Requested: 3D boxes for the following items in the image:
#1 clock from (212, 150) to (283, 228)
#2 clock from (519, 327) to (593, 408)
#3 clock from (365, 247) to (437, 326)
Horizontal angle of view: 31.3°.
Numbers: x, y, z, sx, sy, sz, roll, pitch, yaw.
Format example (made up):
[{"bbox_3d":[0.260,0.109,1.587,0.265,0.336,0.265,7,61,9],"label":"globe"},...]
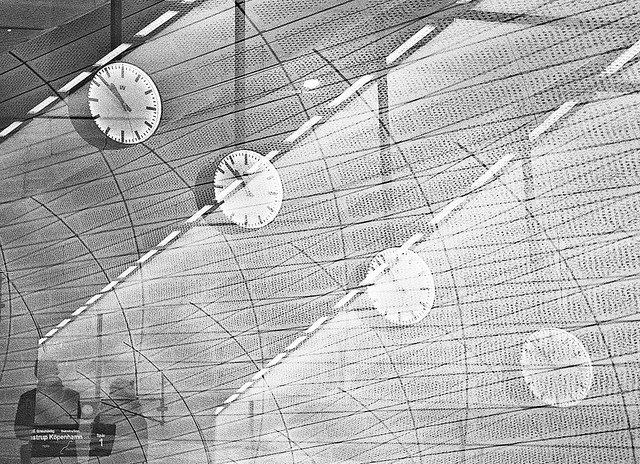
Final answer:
[{"bbox_3d":[-1.025,-0.609,15.938,1.474,0.132,1.081,9,-76,44],"label":"clock"},{"bbox_3d":[3.108,1.710,14.800,1.302,0.270,0.887,-9,-88,21],"label":"clock"},{"bbox_3d":[1.089,0.689,15.343,1.361,0.233,0.902,-3,-87,13],"label":"clock"}]
